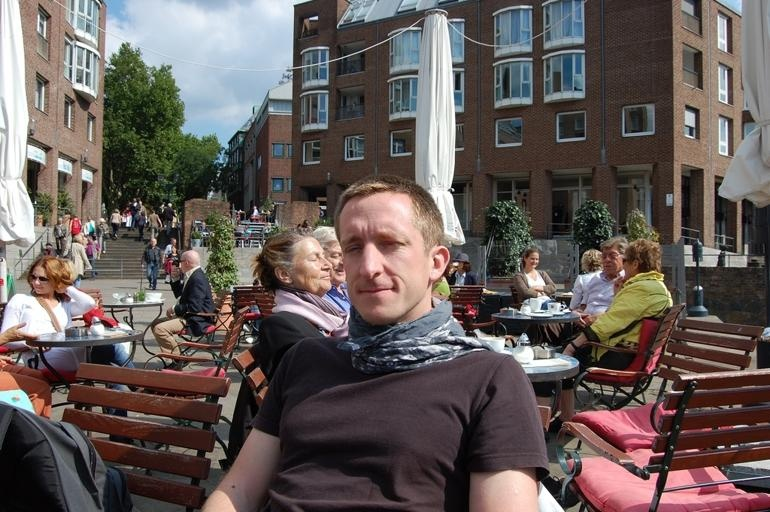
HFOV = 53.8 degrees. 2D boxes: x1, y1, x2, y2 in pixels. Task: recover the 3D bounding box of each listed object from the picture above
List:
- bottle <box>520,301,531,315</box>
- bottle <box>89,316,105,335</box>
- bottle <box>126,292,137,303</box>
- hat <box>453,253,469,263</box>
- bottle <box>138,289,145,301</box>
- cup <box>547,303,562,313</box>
[{"bbox_3d":[2.073,0.774,11.194,0.176,0.179,0.139,-2,-7,27],"label":"bottle"},{"bbox_3d":[-3.565,0.861,9.324,0.148,0.278,0.160,-8,0,0],"label":"bottle"},{"bbox_3d":[-4.518,0.753,13.428,0.197,0.054,0.218,-2,14,-13],"label":"bottle"},{"bbox_3d":[1.677,0.062,16.621,0.287,0.154,0.401,8,-19,24],"label":"hat"},{"bbox_3d":[-4.444,0.709,13.765,0.132,0.222,0.165,-2,-2,34],"label":"bottle"},{"bbox_3d":[2.497,0.761,11.165,0.150,0.119,0.120,-1,0,14],"label":"cup"}]
